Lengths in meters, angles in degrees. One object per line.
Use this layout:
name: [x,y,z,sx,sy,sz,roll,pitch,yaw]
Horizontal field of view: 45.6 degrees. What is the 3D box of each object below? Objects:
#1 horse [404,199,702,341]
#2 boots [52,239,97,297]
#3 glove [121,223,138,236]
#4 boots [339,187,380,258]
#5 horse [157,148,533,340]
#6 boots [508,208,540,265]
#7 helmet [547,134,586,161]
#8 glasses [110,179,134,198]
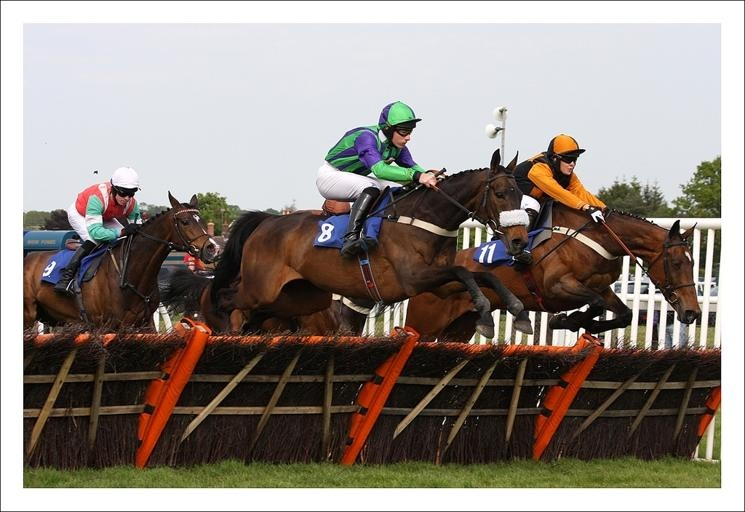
horse: [1.492,0.291,7.997,2.881,1.349,0.679,-5,-11,35]
boots: [-2.708,0.110,8.047,0.329,0.494,0.158,35,-37,11]
glove: [-2.202,-0.240,8.062,0.155,0.108,0.054,-21,-18,-10]
boots: [-0.088,-0.282,6.950,0.182,0.536,0.247,31,-25,-15]
horse: [-0.267,-0.060,7.492,3.502,1.603,0.818,2,-3,41]
boots: [1.217,-0.154,7.071,0.112,0.468,0.263,7,-5,6]
helmet: [1.686,-0.971,7.707,0.292,0.198,0.344,3,-2,10]
glasses: [-2.292,-0.625,8.138,0.159,0.080,0.177,11,-3,-28]
